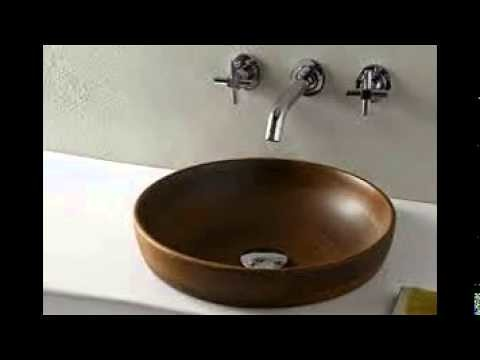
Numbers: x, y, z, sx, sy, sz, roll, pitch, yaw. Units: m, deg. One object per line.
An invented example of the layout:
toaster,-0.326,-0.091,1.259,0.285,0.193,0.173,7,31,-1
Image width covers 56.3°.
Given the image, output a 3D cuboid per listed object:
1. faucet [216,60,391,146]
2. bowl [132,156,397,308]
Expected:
faucet,0.131,-0.190,1.148,0.383,0.203,0.324,8,-2,-23
bowl,0.042,0.121,0.984,0.537,0.167,0.541,-1,19,0
